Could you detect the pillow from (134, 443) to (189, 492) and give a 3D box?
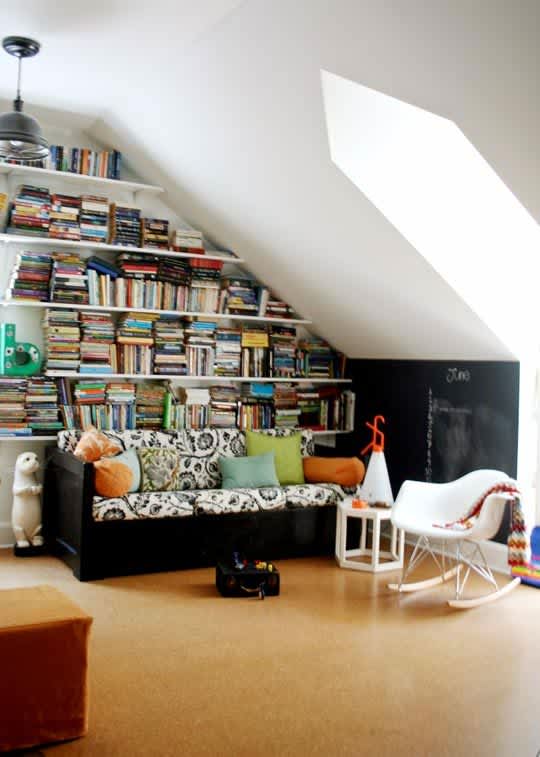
[{"bbox_3d":[-0.736,0.602,3.962,0.101,0.272,0.278,-22,-22,39],"label":"pillow"}]

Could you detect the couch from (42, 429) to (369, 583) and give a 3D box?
[{"bbox_3d":[-0.490,0.865,3.950,1.827,0.715,0.683,3,-4,-17],"label":"couch"}]

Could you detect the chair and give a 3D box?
[{"bbox_3d":[1.144,0.885,3.696,0.755,0.790,0.840,3,-2,-41],"label":"chair"}]

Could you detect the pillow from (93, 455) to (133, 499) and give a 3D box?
[{"bbox_3d":[-0.946,0.600,3.571,0.216,0.221,0.125,3,-4,-11],"label":"pillow"}]

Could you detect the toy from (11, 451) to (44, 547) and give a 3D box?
[{"bbox_3d":[-1.611,0.820,4.038,0.237,0.630,0.263,5,-5,-40],"label":"toy"}]

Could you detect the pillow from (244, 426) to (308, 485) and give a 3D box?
[{"bbox_3d":[0.028,0.585,4.391,0.356,0.345,0.126,5,-28,-27],"label":"pillow"}]

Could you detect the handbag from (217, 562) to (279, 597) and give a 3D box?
[{"bbox_3d":[-0.129,1.106,3.375,0.219,0.098,0.205,1,-3,-15],"label":"handbag"}]
